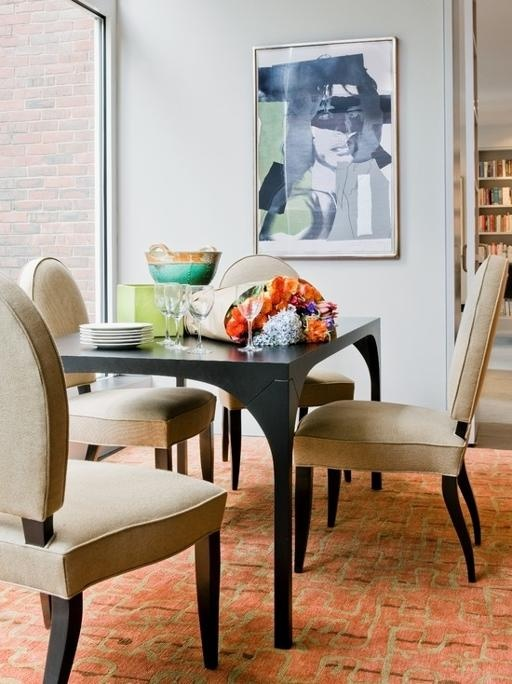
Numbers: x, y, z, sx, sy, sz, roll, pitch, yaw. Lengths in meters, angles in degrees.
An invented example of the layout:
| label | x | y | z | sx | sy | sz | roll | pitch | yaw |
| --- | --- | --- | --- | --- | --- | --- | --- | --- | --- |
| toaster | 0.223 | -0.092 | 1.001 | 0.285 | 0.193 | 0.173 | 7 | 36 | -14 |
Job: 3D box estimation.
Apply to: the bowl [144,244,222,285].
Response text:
| label | x | y | z | sx | sy | sz | roll | pitch | yaw |
| --- | --- | --- | --- | --- | --- | --- | --- | --- | --- |
| bowl | -0.235 | -0.216 | 1.791 | 0.178 | 0.095 | 0.161 | -2 | 5 | -31 |
